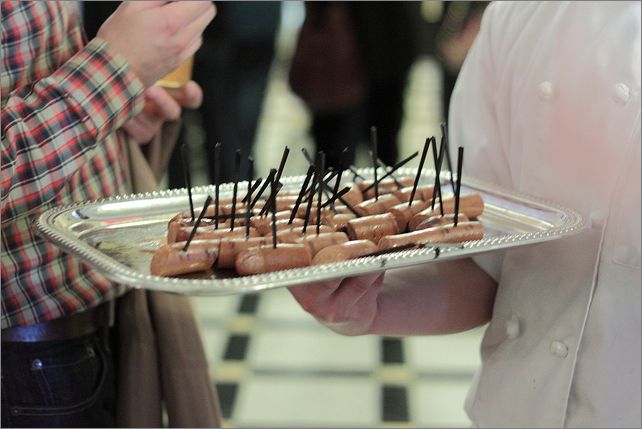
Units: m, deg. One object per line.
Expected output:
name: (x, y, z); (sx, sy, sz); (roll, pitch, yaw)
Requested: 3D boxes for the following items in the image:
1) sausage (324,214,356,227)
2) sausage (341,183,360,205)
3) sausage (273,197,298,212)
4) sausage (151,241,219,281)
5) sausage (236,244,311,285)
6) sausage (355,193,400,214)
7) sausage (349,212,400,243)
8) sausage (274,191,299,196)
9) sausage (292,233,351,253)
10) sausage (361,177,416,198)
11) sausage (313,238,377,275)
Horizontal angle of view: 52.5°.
sausage: (0.045, 0.016, 1.717); (0.072, 0.024, 0.036); (-10, 40, -47)
sausage: (0.091, -0.060, 1.893); (0.034, 0.049, 0.061); (-37, 15, 21)
sausage: (-0.097, -0.028, 1.801); (0.042, 0.012, 0.041); (21, 48, 3)
sausage: (-0.310, 0.100, 1.515); (0.147, 0.065, 0.068); (-10, -12, -37)
sausage: (-0.111, 0.111, 1.509); (0.161, 0.061, 0.074); (-5, 10, -12)
sausage: (0.164, -0.027, 1.785); (0.106, 0.052, 0.046); (-17, -19, -34)
sausage: (0.135, 0.035, 1.670); (0.103, 0.068, 0.071); (-12, 41, -26)
sausage: (-0.095, -0.060, 1.866); (0.069, 0.014, 0.018); (-2, 39, -10)
sausage: (0.006, 0.065, 1.614); (0.117, 0.041, 0.053); (-9, 4, -31)
sausage: (0.198, -0.084, 1.939); (0.209, 0.070, 0.061); (-10, 7, -31)
sausage: (0.057, 0.089, 1.532); (0.130, 0.043, 0.064); (-20, -6, -25)
